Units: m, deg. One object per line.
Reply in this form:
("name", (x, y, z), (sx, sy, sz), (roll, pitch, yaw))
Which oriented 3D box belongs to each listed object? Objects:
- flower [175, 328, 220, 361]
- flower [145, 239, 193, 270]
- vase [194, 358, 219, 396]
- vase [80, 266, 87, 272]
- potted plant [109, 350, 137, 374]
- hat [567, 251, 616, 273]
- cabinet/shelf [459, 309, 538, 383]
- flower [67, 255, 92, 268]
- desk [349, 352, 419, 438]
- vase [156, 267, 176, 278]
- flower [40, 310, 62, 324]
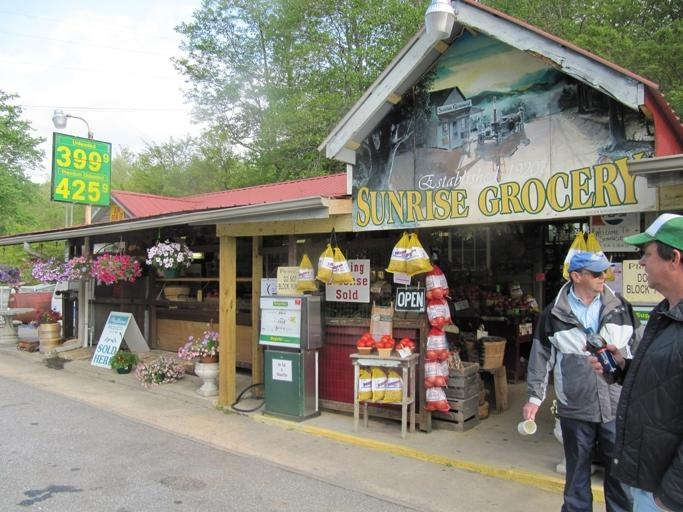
("flower", (-2.607, 1.703, 11.232), (0.877, 0.613, 0.878), (4, -7, -37))
("flower", (-3.552, -0.025, 12.460), (0.695, 0.496, 0.717), (4, -6, -6))
("vase", (-2.465, 2.199, 10.984), (0.392, 0.604, 0.533), (-2, 4, -15))
("vase", (-6.201, 0.293, 14.365), (0.121, 0.124, 0.052), (1, 3, -23))
("potted plant", (-4.628, 2.236, 12.758), (0.456, 0.380, 0.465), (2, -9, 2))
("hat", (2.475, 0.059, 5.975), (0.319, 0.131, 0.220), (0, 2, -2))
("cabinet/shelf", (2.681, 1.544, 10.331), (1.598, 1.138, 0.854), (2, -9, -42))
("flower", (-6.285, 0.126, 14.501), (0.358, 0.232, 0.371), (1, -1, 29))
("desk", (0.647, 1.978, 8.870), (0.916, 1.175, 0.677), (1, 4, 22))
("vase", (-3.954, 0.376, 13.566), (0.397, 0.285, 0.403), (0, -7, -7))
("flower", (-7.679, 1.582, 15.811), (0.353, 0.260, 0.355), (0, -4, 40))
